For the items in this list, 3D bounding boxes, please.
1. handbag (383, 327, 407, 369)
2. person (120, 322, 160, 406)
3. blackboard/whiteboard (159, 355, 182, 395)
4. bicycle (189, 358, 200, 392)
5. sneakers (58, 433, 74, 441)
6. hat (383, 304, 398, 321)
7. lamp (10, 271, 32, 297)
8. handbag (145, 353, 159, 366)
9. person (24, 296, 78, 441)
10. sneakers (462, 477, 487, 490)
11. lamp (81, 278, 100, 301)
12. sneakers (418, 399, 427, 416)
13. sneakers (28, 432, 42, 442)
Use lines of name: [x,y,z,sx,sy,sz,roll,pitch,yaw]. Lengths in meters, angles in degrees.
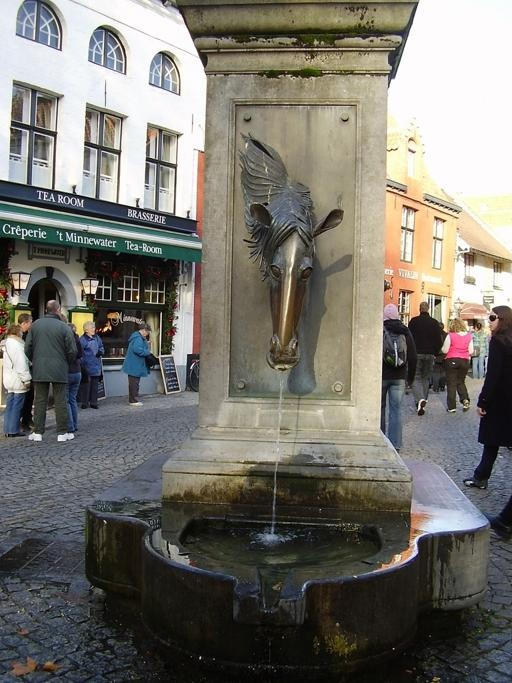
handbag: [1.760,0.084,7.764,0.266,0.522,0.307,0,2,9]
person: [-2.596,0.511,13.566,0.678,1.792,0.613,0,2,-13]
blackboard/whiteboard: [-2.366,0.925,16.665,0.100,1.395,0.990,-18,-9,26]
bicycle: [-1.757,0.940,17.304,0.244,0.918,0.491,0,2,-11]
sneakers: [-2.753,1.385,8.882,0.095,0.125,0.278,-1,-7,11]
hat: [1.857,-0.392,8.208,0.186,0.248,0.239,-2,11,-2]
lamp: [-5.091,-1.243,13.243,0.413,0.546,0.452,-1,2,-38]
handbag: [-2.309,0.427,13.451,0.210,0.301,0.228,0,2,13]
person: [-2.941,0.421,8.765,0.680,2.019,0.466,-1,2,-18]
sneakers: [2.203,1.408,6.175,0.093,0.105,0.232,0,5,-40]
lamp: [-4.016,-1.273,14.753,0.437,0.589,0.463,-2,3,21]
sneakers: [3.300,1.310,12.176,0.144,0.390,0.160,2,2,-7]
sneakers: [-3.186,1.377,8.833,0.100,0.108,0.243,3,5,-24]
